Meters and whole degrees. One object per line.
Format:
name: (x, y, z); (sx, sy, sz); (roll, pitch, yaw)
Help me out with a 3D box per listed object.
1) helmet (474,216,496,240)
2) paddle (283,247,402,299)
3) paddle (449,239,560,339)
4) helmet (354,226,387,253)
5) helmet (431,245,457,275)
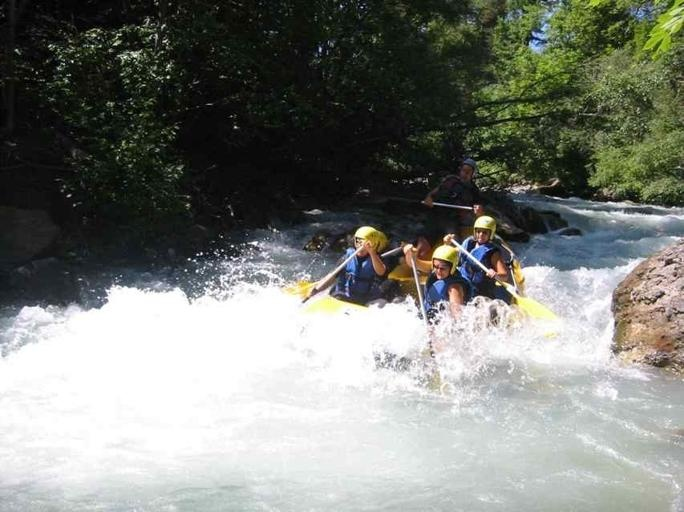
helmet: (1.924, -0.410, 9.086); (0.285, 0.317, 0.366); (4, 2, 25)
paddle: (0.010, 0.269, 9.434); (1.360, 0.202, 0.159); (-29, -30, 25)
paddle: (2.169, 0.479, 8.939); (0.303, 0.117, 2.070); (-18, 47, -41)
helmet: (0.367, -0.225, 8.685); (0.289, 0.215, 0.437); (27, 9, 29)
helmet: (1.262, 0.042, 7.968); (0.271, 0.256, 0.357); (8, 18, 21)
